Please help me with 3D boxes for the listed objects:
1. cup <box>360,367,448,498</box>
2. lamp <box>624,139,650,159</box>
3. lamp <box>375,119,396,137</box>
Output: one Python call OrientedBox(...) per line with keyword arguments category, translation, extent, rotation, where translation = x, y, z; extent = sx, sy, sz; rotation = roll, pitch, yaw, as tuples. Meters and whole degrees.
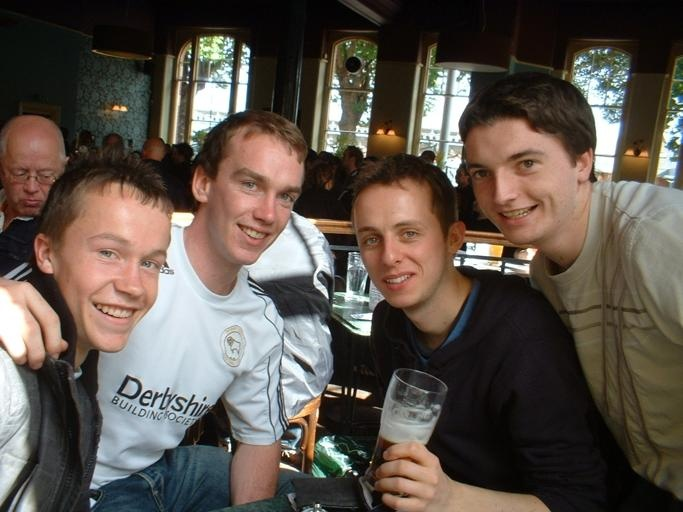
OrientedBox(category="cup", translation=(0.166, 0.473, 1.370), extent=(0.217, 0.324, 0.149), rotation=(4, 8, -7))
OrientedBox(category="lamp", translation=(6.411, -2.302, 11.091), extent=(0.418, 0.394, 0.223), rotation=(3, -7, 39))
OrientedBox(category="lamp", translation=(1.084, -3.085, 12.420), extent=(0.332, 0.317, 0.175), rotation=(23, 16, 22))
